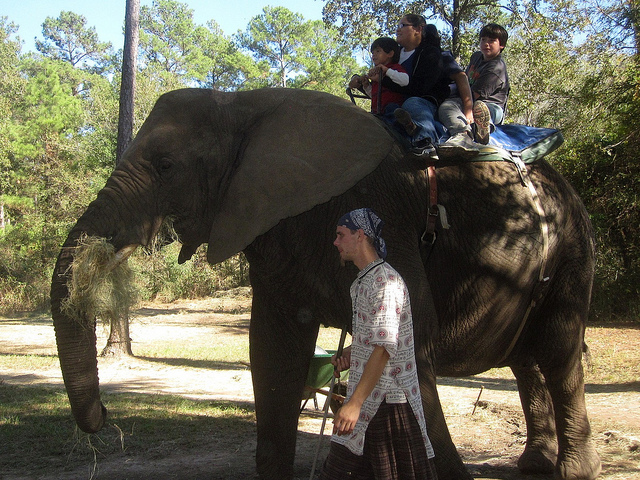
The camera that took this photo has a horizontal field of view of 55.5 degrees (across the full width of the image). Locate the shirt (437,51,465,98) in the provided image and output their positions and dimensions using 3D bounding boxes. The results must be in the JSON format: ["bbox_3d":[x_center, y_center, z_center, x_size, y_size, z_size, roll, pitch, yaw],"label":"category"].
[{"bbox_3d":[1.178,-1.486,5.454,0.170,0.445,0.399,-8,-5,10],"label":"shirt"}]

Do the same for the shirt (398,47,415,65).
[{"bbox_3d":[0.770,-1.660,5.458,0.125,0.198,0.172,1,-1,8],"label":"shirt"}]

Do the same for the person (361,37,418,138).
[{"bbox_3d":[0.563,-1.260,5.325,0.367,1.205,0.424,9,-17,-23],"label":"person"}]

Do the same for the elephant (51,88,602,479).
[{"bbox_3d":[0.319,0.473,5.059,4.530,3.595,2.030,2,-1,-20],"label":"elephant"}]

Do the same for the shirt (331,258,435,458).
[{"bbox_3d":[0.440,0.794,4.041,0.394,1.376,0.978,3,-5,-29],"label":"shirt"}]

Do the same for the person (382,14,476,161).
[{"bbox_3d":[0.891,-1.277,5.365,0.783,1.555,0.646,-1,-12,15],"label":"person"}]

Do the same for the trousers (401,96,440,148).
[{"bbox_3d":[0.852,-1.007,4.960,0.343,0.462,0.331,-7,15,-13],"label":"trousers"}]
